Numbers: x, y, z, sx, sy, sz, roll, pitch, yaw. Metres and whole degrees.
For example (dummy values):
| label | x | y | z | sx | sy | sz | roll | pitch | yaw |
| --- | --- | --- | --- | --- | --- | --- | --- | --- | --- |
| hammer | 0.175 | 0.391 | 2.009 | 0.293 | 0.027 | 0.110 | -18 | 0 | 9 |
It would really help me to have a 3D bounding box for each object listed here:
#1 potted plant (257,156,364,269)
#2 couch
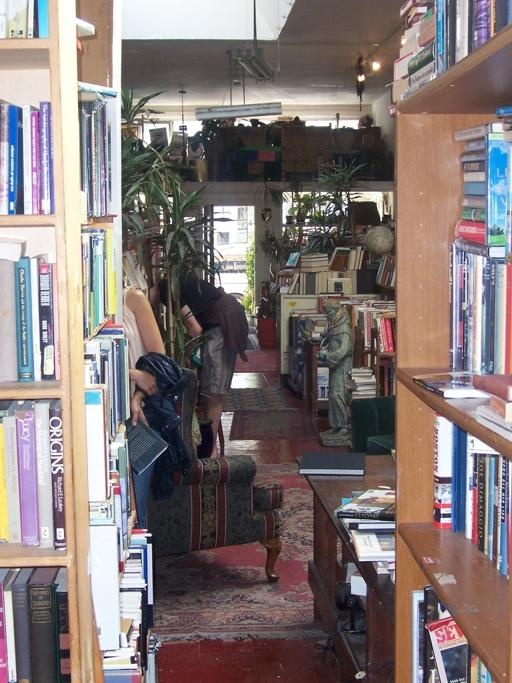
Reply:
| label | x | y | z | sx | sy | sz | roll | pitch | yaw |
| --- | --- | --- | --- | --- | --- | --- | --- | --- | --- |
| potted plant | 0.907 | -2.143 | 10.727 | 2.011 | 2.282 | 1.829 | 0 | 10 | -6 |
| couch | -0.358 | 0.660 | 3.746 | 0.787 | 1.302 | 0.756 | -3 | 4 | -17 |
